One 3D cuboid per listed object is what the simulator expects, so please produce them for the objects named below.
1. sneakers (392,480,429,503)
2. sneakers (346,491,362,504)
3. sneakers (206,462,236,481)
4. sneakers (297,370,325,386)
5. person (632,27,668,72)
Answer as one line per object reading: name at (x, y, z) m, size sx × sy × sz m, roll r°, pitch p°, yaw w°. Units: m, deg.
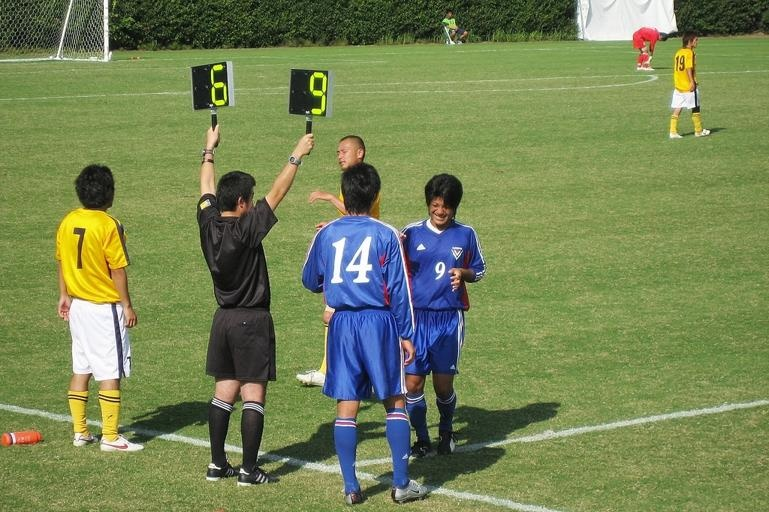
sneakers at (0.373, 3.271, 18.155) m, size 0.623 × 0.264 × 0.225 m, roll -5°, pitch 10°, yaw -15°
sneakers at (-0.416, 3.350, 18.200) m, size 0.144 × 0.086 × 0.214 m, roll 0°, pitch 6°, yaw -4°
sneakers at (-2.316, 3.055, 18.483) m, size 0.550 × 0.194 × 0.170 m, roll 1°, pitch 2°, yaw -26°
sneakers at (-1.103, 1.878, 20.193) m, size 0.549 × 0.200 × 0.199 m, roll 6°, pitch -3°, yaw 11°
person at (9.085, -7.061, 44.814) m, size 1.396 × 1.378 × 0.842 m, roll 3°, pitch 9°, yaw -3°
